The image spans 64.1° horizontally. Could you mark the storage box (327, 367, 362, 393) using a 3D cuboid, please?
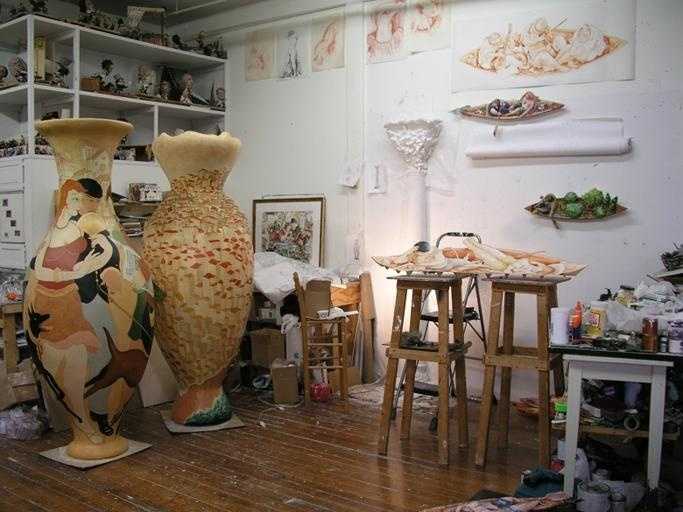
[{"bbox_3d":[0.052,1.210,5.313,0.305,0.205,0.070,4,-22,-41],"label":"storage box"}]

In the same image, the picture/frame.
[{"bbox_3d":[-0.536,-0.247,5.955,0.770,0.796,0.035,2,2,35],"label":"picture/frame"}]

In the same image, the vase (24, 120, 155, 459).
[{"bbox_3d":[-1.748,0.244,3.797,0.825,2.343,0.452,-4,9,-29],"label":"vase"}]

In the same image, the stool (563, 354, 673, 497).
[{"bbox_3d":[1.596,0.994,3.229,0.564,0.850,0.288,4,9,24],"label":"stool"}]

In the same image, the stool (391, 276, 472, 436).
[{"bbox_3d":[0.673,0.756,4.231,0.636,1.313,1.036,2,8,13],"label":"stool"}]

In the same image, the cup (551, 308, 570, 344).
[{"bbox_3d":[1.352,0.422,3.384,0.110,0.202,0.237,4,8,23],"label":"cup"}]

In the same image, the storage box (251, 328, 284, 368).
[{"bbox_3d":[-0.705,0.920,5.341,0.248,0.324,0.328,3,1,29],"label":"storage box"}]

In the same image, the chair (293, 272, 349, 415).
[{"bbox_3d":[-0.181,0.721,5.031,0.490,1.166,0.777,0,8,1],"label":"chair"}]

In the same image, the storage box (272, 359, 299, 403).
[{"bbox_3d":[-0.512,1.155,4.950,0.310,0.441,0.235,-1,-4,-13],"label":"storage box"}]

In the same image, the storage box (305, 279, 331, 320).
[{"bbox_3d":[-0.222,0.390,5.098,0.313,0.444,0.299,0,-6,2],"label":"storage box"}]
